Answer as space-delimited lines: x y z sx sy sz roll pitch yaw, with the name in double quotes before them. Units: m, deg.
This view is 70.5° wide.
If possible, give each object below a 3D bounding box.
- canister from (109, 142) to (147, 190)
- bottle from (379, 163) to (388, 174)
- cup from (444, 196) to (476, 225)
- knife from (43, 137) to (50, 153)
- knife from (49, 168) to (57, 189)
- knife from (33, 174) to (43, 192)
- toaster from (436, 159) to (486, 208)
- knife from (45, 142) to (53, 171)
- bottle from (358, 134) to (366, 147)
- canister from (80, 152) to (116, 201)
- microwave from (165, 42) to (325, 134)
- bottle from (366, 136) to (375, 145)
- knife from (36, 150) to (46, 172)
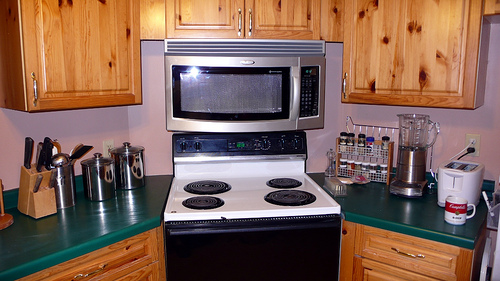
"canister" -0.964 0.196 2.816 0.251 0.363 0.159 -7 13 -20
"bottle" 1.098 0.222 2.894 0.052 0.094 0.059 2 13 18
"cup" 1.415 0.473 2.443 0.146 0.142 0.217 2 5 19
"knife" -1.390 0.023 2.419 0.046 0.089 0.017 -6 13 -15
"knife" -1.364 0.256 2.449 0.063 0.127 0.042 -9 14 -27
"knife" -1.431 0.282 2.392 0.039 0.132 0.010 24 -7 -32
"toaster" 1.587 0.324 2.668 0.397 0.282 0.292 -17 19 -41
"knife" -1.395 0.111 2.441 0.050 0.182 0.051 15 9 24
"bottle" 0.921 -0.001 2.918 0.052 0.092 0.050 -2 12 1
"canister" -1.150 0.264 2.694 0.246 0.321 0.235 0 10 0
"microwave" -0.056 -0.422 3.069 1.331 0.694 0.742 0 1 -4
"bottle" 0.987 0.003 2.900 0.059 0.055 0.056 -1 5 -26
"knife" -1.431 0.135 2.426 0.073 0.147 0.023 -9 14 -27
